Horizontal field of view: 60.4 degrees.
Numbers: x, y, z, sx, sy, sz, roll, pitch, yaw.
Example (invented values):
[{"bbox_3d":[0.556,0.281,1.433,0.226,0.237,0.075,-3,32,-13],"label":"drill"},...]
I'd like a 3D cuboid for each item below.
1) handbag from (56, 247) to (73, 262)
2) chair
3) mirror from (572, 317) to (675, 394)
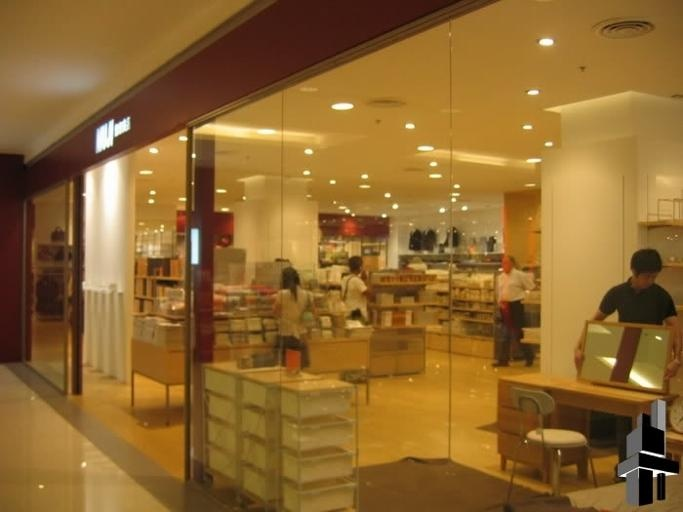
[{"bbox_3d":[-3.619,-0.022,7.663,0.194,0.198,0.106,3,3,40],"label":"handbag"},{"bbox_3d":[0.834,0.767,2.575,0.381,0.567,0.354,0,-1,-30],"label":"chair"},{"bbox_3d":[1.091,0.371,2.233,0.297,0.229,0.024,8,-3,43],"label":"mirror"}]
